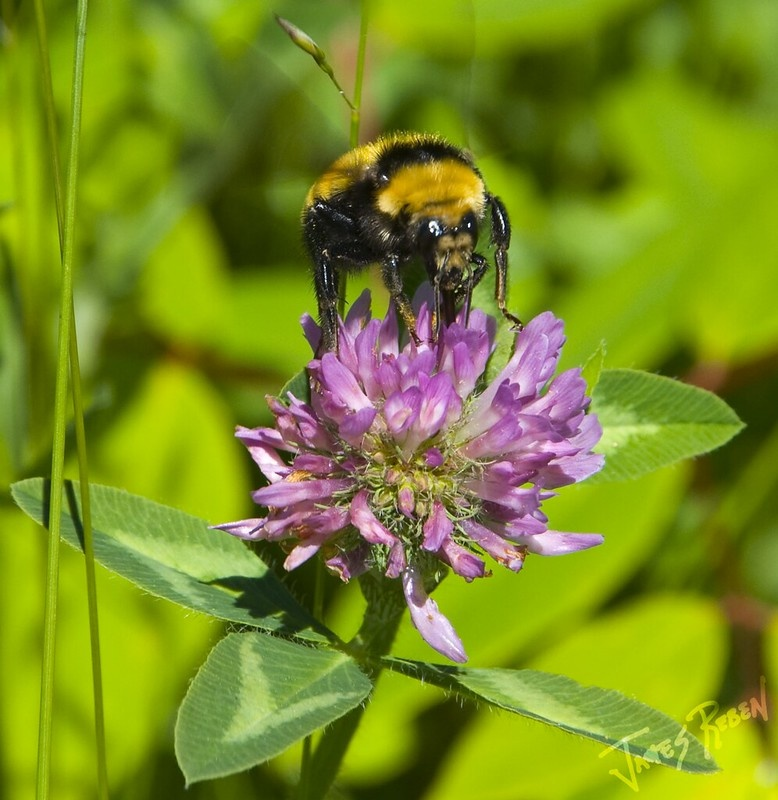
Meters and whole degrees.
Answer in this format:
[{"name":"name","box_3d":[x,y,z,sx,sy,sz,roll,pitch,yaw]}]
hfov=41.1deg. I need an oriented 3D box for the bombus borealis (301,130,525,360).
[{"name":"bombus borealis","box_3d":[0.050,-0.169,1.087,0.185,0.164,0.250,-8,29,-3]}]
